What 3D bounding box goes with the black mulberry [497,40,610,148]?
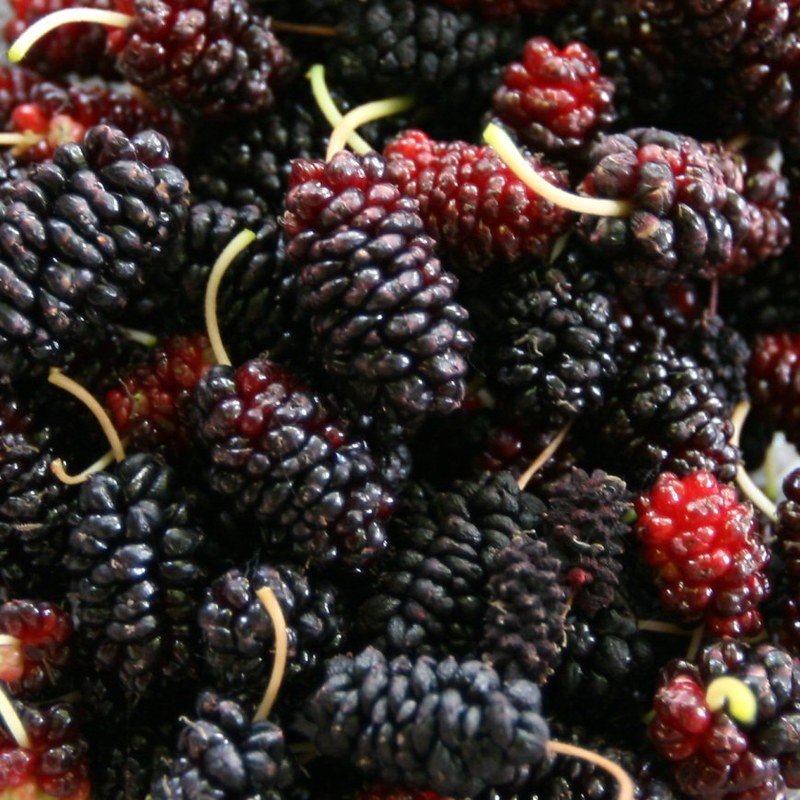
[{"bbox_3d":[0.124,-0.239,0.752,0.094,0.068,0.089,15,43,-7],"label":"black mulberry"}]
